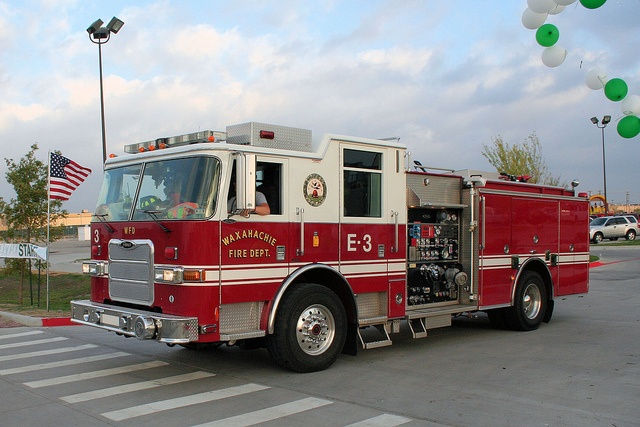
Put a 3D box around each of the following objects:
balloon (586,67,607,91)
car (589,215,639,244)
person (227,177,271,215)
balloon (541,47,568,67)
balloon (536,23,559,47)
[{"bbox_3d":[7.400,-3.616,13.405,0.473,0.522,0.317,1,1,29],"label":"balloon"},{"bbox_3d":[22.415,1.358,38.229,4.100,1.923,1.917,2,-3,-22],"label":"car"},{"bbox_3d":[-1.096,-0.143,8.030,0.341,0.447,0.776,1,1,41],"label":"person"},{"bbox_3d":[6.021,-4.093,12.927,0.506,0.685,0.617,1,1,25],"label":"balloon"},{"bbox_3d":[5.887,-4.699,13.017,0.477,0.619,0.346,1,1,25],"label":"balloon"}]
